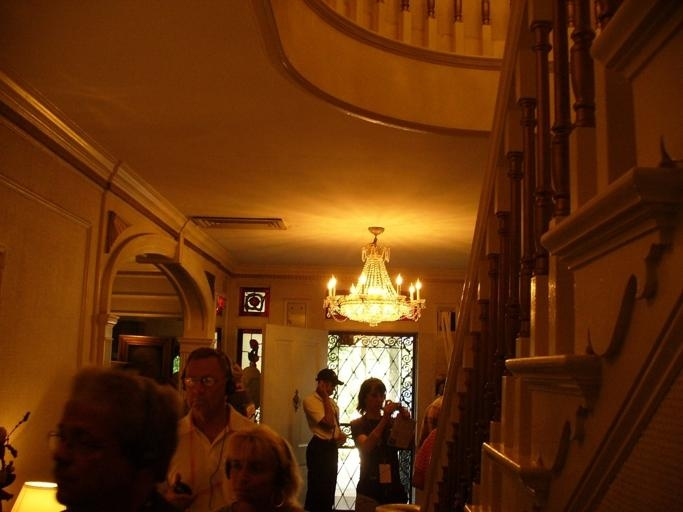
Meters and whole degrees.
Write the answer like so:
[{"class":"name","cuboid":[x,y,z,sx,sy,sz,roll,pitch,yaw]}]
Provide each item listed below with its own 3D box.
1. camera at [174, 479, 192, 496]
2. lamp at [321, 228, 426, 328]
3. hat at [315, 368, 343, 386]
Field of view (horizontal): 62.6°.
[{"class":"camera","cuboid":[-0.597,0.874,2.135,0.062,0.042,0.054,41,-41,-12]},{"class":"lamp","cuboid":[0.409,0.207,6.368,1.086,1.295,1.137,6,-9,-37]},{"class":"hat","cuboid":[-0.114,1.216,5.696,0.278,0.191,0.199,2,-7,9]}]
